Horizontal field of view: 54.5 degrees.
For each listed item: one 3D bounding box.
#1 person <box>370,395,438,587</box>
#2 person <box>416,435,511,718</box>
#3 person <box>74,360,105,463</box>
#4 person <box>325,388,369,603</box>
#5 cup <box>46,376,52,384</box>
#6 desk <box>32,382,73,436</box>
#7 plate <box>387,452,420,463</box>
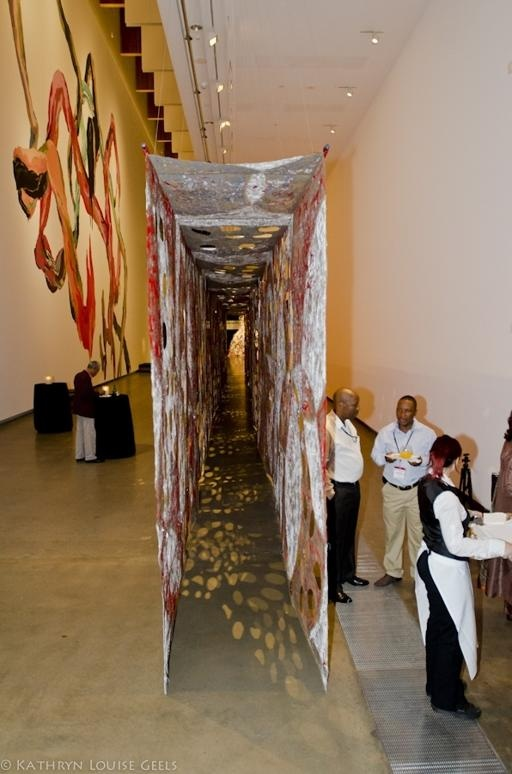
[{"bbox_3d":[0.979,0.712,3.196,0.335,1.310,0.367,0,9,14],"label":"person"},{"bbox_3d":[0.790,0.749,1.918,0.304,1.107,0.330,1,0,9],"label":"person"},{"bbox_3d":[-2.228,0.328,6.559,0.334,1.321,0.353,1,0,-8],"label":"person"},{"bbox_3d":[0.565,0.673,3.076,0.249,0.900,0.606,1,0,15],"label":"person"},{"bbox_3d":[-3.560,-0.109,8.535,0.106,0.164,0.127,1,-2,16],"label":"cup"},{"bbox_3d":[-3.392,0.267,8.236,0.478,0.929,0.576,4,23,-13],"label":"desk"},{"bbox_3d":[0.924,0.444,3.094,0.208,0.079,0.100,1,0,7],"label":"plate"}]
